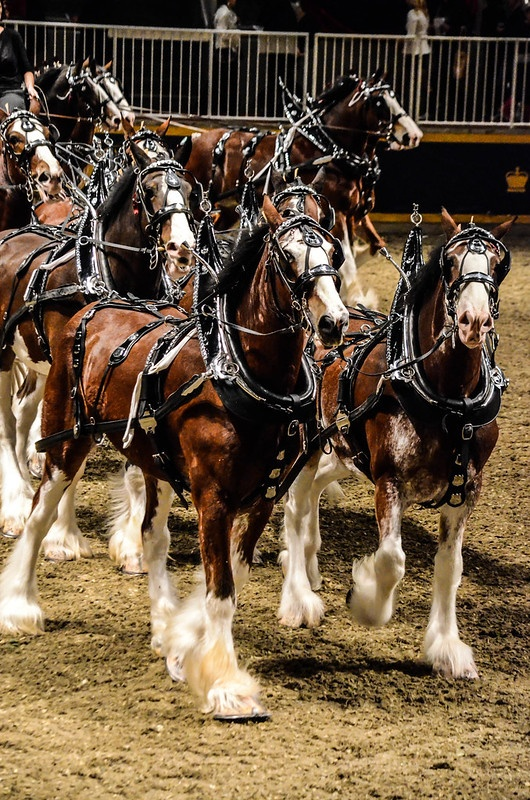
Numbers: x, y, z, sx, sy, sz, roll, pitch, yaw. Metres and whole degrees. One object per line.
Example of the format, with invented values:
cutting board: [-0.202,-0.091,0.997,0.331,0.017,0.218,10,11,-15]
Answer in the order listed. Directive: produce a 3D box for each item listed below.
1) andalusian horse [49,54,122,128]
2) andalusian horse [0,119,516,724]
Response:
andalusian horse: [-1.595,-2.720,8.158,0.632,0.550,0.322,2,7,-13]
andalusian horse: [-0.313,0.185,3.487,0.534,1.885,1.710,-3,9,-43]
